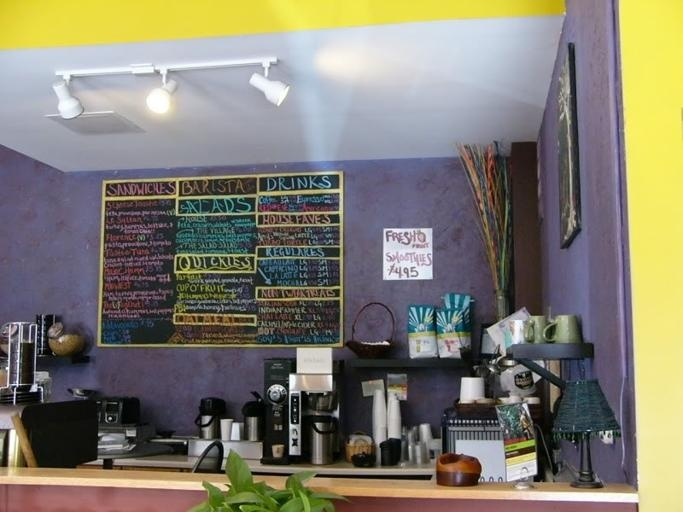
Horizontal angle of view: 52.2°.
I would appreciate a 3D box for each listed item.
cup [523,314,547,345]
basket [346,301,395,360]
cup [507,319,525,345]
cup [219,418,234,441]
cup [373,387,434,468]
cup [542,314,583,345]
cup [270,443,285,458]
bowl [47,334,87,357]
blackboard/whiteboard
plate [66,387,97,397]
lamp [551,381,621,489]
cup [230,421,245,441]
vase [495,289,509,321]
[{"bbox_3d":[0.797,0.298,2.883,0.119,0.117,0.065,3,-3,-31],"label":"cup"},{"bbox_3d":[0.212,0.504,4.957,0.355,0.392,0.278,3,-5,6],"label":"basket"},{"bbox_3d":[0.719,0.307,2.852,0.072,0.104,0.224,-4,-9,15],"label":"cup"},{"bbox_3d":[-0.798,1.215,4.931,0.125,0.142,0.128,2,-6,0],"label":"cup"},{"bbox_3d":[0.369,1.165,4.713,0.449,0.538,0.379,2,-9,-14],"label":"cup"},{"bbox_3d":[0.903,0.288,2.823,0.152,0.105,0.095,-2,-1,-26],"label":"cup"},{"bbox_3d":[-0.420,1.275,4.574,0.078,0.058,0.073,2,-10,0],"label":"cup"},{"bbox_3d":[-2.082,0.688,5.303,0.182,0.113,0.178,-7,-11,-1],"label":"bowl"},{"bbox_3d":[-0.858,0.067,5.312,1.369,0.959,0.027,0,-5,8],"label":"blackboard/whiteboard"},{"bbox_3d":[-1.961,1.028,5.277,0.217,0.073,0.315,2,-10,-20],"label":"plate"},{"bbox_3d":[0.852,0.601,2.389,0.198,0.357,0.288,-6,-10,30],"label":"lamp"},{"bbox_3d":[-0.732,1.217,4.865,0.115,0.137,0.100,-1,-18,2],"label":"cup"},{"bbox_3d":[1.101,0.322,4.774,0.091,0.216,0.099,-2,-8,2],"label":"vase"}]
